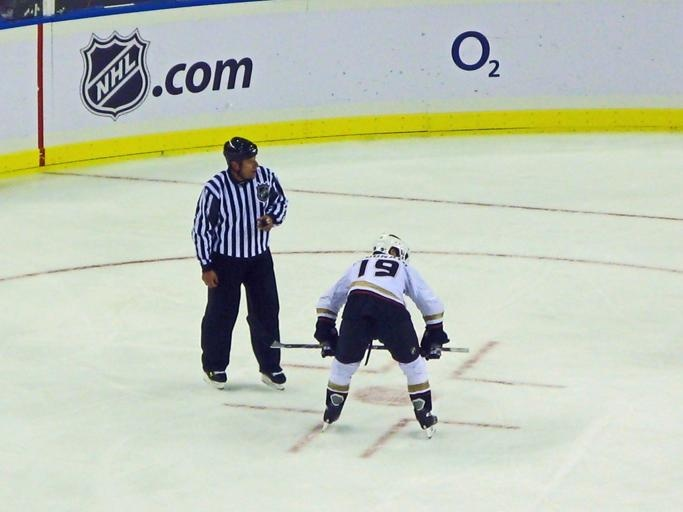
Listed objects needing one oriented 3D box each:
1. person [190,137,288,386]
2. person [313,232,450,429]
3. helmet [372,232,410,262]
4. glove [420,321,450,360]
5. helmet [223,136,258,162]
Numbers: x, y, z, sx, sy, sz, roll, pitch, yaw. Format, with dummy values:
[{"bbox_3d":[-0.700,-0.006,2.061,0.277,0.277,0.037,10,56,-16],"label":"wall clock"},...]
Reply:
[{"bbox_3d":[-0.695,0.055,6.986,0.655,1.713,0.341,2,9,-9],"label":"person"},{"bbox_3d":[0.271,0.553,6.815,0.915,0.714,1.488,-4,46,18],"label":"person"},{"bbox_3d":[0.331,-0.054,6.618,0.197,0.185,0.156,19,-17,-16],"label":"helmet"},{"bbox_3d":[0.584,0.544,6.495,0.175,0.233,0.084,6,1,10],"label":"glove"},{"bbox_3d":[-0.691,-0.746,6.932,0.200,0.162,0.162,-18,26,4],"label":"helmet"}]
